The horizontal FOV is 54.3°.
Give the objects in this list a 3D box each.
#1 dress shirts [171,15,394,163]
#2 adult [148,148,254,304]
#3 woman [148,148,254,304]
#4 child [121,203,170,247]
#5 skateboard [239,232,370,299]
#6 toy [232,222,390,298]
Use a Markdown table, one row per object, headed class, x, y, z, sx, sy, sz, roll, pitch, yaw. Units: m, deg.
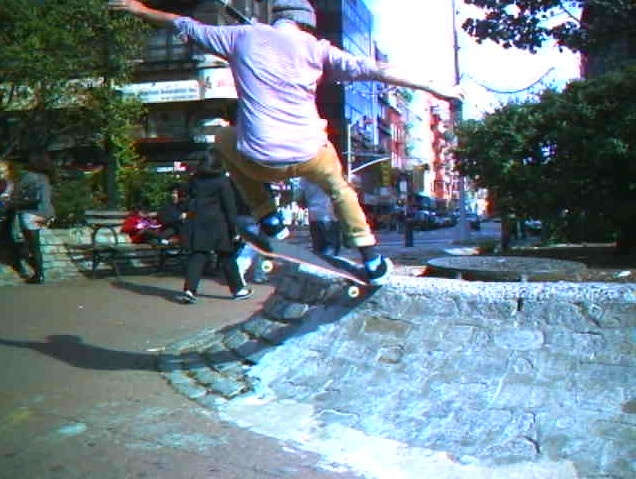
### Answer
| class | x | y | z | sx | sy | sz | roll | pitch | yaw |
| --- | --- | --- | --- | --- | --- | --- | --- | --- | --- |
| dress shirts | -0.468 | -1.144 | 5.076 | 2.010 | 1.187 | 1.036 | 0 | -4 | -26 |
| adult | -1.376 | -0.189 | 8.386 | 1.011 | 1.940 | 0.727 | 0 | -9 | 2 |
| woman | -1.351 | -0.192 | 8.382 | 1.025 | 1.947 | 0.750 | 0 | -8 | 1 |
| child | -3.087 | -0.248 | 11.350 | 0.788 | 0.974 | 0.673 | -18 | -21 | 32 |
| skateboard | 0.120 | 0.222 | 5.345 | 1.542 | 0.252 | 0.388 | 15 | 29 | -39 |
| toy | -0.050 | 0.152 | 5.231 | 1.174 | 0.274 | 0.600 | 14 | -6 | -8 |
